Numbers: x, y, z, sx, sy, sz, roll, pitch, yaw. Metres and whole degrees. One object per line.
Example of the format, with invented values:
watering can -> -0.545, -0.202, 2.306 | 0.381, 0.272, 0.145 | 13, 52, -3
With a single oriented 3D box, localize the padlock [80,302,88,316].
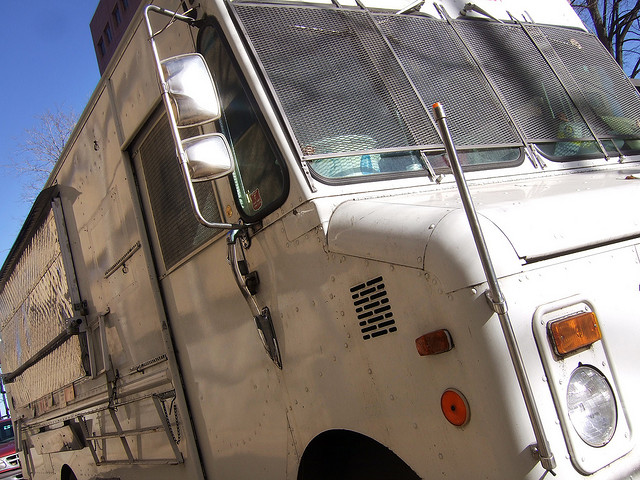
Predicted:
padlock -> -2.331, 0.695, 4.689 | 0.054, 0.114, 0.089 | 2, 5, -40

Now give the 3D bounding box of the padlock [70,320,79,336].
padlock -> -2.411, 0.874, 4.685 | 0.112, 0.138, 0.035 | 1, 6, 5

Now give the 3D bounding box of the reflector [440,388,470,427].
reflector -> 0.533, 0.645, 1.843 | 0.045, 0.135, 0.121 | 3, -28, -29

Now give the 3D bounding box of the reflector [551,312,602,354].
reflector -> 1.008, 0.356, 1.838 | 0.251, 0.128, 0.050 | 0, -25, -27
